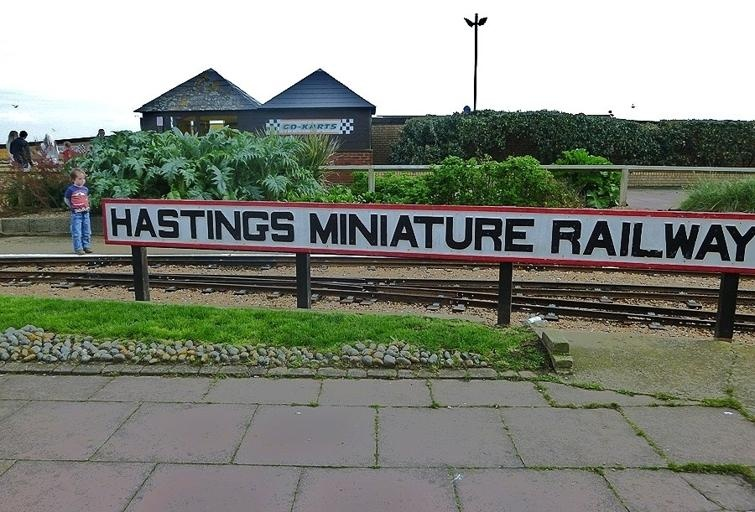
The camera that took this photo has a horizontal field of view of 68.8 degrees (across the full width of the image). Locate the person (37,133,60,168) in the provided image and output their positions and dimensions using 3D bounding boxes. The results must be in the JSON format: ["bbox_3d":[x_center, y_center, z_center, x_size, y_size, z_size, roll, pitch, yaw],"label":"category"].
[{"bbox_3d":[-11.967,-3.890,20.074,0.529,1.009,0.895,-6,10,-30],"label":"person"}]

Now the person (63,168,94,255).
[{"bbox_3d":[-7.367,-1.104,13.582,0.496,2.066,1.117,-5,10,-29],"label":"person"}]

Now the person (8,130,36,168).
[{"bbox_3d":[-12.582,-3.737,19.426,0.655,1.384,2.219,-6,10,-32],"label":"person"}]

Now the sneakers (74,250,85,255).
[{"bbox_3d":[-7.247,-0.089,13.466,0.328,0.131,0.119,-2,6,14],"label":"sneakers"}]
